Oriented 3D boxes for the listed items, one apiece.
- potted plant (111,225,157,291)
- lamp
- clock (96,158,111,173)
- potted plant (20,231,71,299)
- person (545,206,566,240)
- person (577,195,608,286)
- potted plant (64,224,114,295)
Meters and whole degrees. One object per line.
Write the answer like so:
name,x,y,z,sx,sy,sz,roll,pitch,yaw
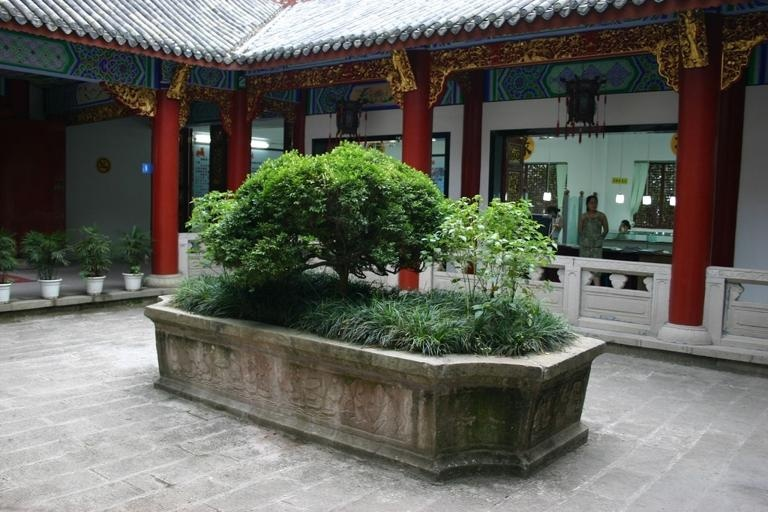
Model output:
potted plant,-4.742,0.021,10.884,0.667,1.164,0.654,3,2,-38
lamp,5.355,-2.118,14.153,3.030,1.721,0.498,5,10,21
clock,-7.286,-2.343,14.986,0.373,0.404,0.097,1,9,3
potted plant,-5.874,0.290,9.961,0.828,1.094,0.841,-5,-2,-9
person,3.824,-0.728,12.928,0.358,0.772,1.961,4,10,17
person,3.778,-0.518,10.509,0.486,1.093,0.596,7,11,32
potted plant,-5.242,0.092,10.369,0.602,1.191,0.634,-4,11,-27
